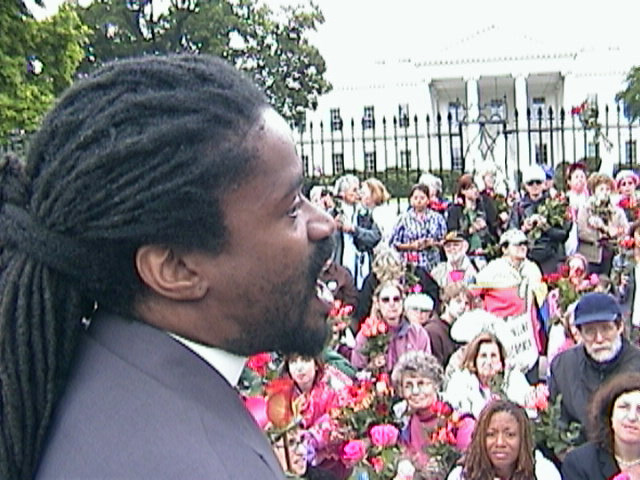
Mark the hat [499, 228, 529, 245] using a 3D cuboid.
[{"bbox_3d":[1.830,-0.034,8.047,0.157,0.106,0.159,-3,1,-42],"label":"hat"}]

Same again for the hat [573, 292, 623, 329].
[{"bbox_3d":[1.828,0.455,5.670,0.288,0.262,0.448,-11,-14,26],"label":"hat"}]
